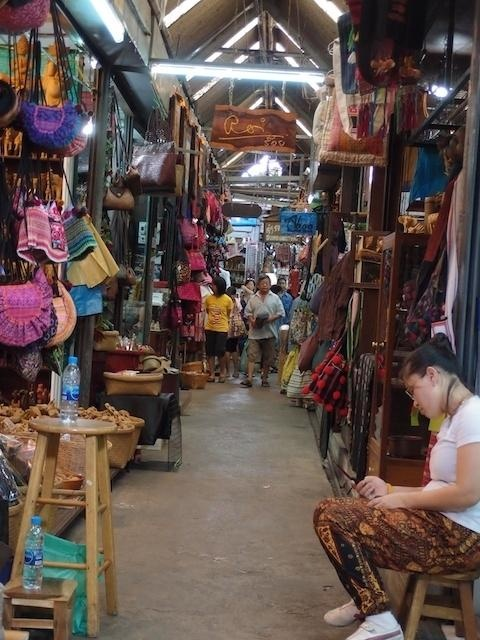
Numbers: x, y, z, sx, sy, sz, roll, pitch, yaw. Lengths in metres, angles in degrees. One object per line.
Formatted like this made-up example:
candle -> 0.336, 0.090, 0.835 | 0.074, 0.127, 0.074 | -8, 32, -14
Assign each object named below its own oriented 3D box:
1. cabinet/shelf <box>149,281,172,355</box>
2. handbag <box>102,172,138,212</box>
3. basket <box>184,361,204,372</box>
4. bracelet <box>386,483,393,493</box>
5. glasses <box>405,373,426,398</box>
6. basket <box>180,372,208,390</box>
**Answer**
cabinet/shelf -> -1.344, -0.051, 8.286 | 0.362, 1.321, 0.958 | 5, -7, -9
handbag -> -1.183, -1.285, 4.871 | 0.328, 0.413, 0.281 | 6, -8, -15
basket -> -0.943, 0.927, 9.708 | 0.413, 0.253, 0.544 | 5, -8, -6
bracelet -> 0.484, 0.547, 1.577 | 0.024, 0.018, 0.024 | 3, -8, 9
glasses -> 0.465, 0.177, 1.286 | 0.020, 0.069, 0.065 | 3, 3, -5
basket -> -0.889, 1.171, 9.378 | 0.375, 0.248, 0.379 | 3, -7, -18
